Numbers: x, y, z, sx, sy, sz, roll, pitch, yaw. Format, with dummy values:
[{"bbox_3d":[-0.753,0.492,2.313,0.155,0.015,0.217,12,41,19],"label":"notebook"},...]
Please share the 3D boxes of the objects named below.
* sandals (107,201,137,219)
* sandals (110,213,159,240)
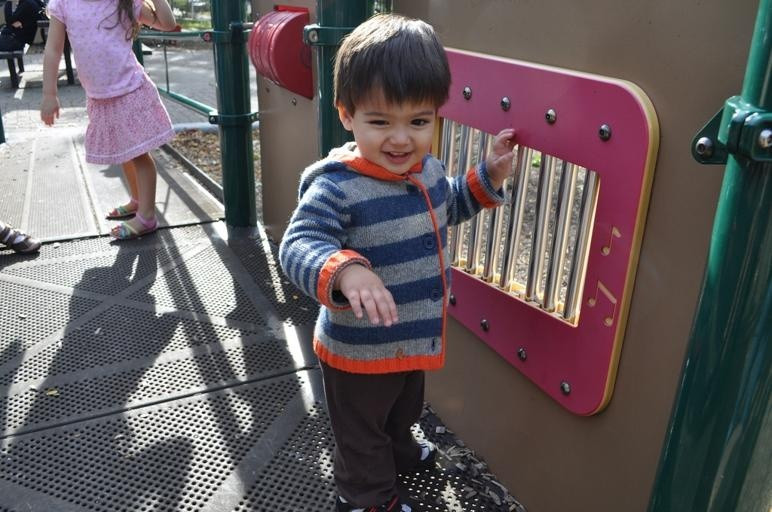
[{"bbox_3d":[-1.751,-0.299,3.419,0.088,0.060,0.211,4,12,17],"label":"sandals"},{"bbox_3d":[-1.547,-0.161,3.152,0.236,0.116,0.132,-21,36,-28],"label":"sandals"}]
